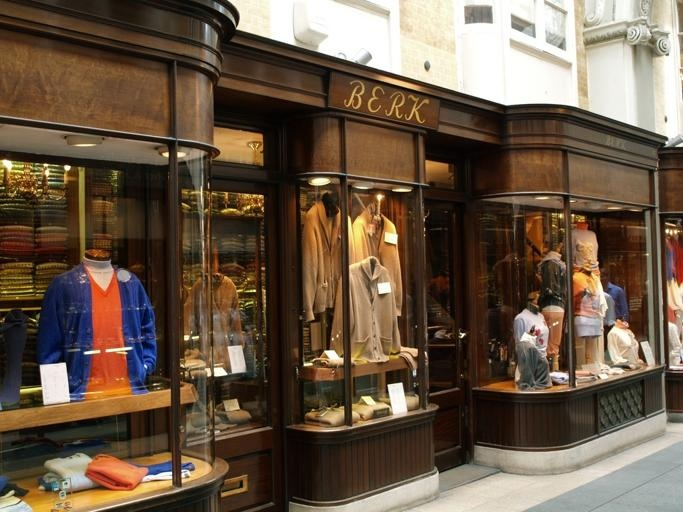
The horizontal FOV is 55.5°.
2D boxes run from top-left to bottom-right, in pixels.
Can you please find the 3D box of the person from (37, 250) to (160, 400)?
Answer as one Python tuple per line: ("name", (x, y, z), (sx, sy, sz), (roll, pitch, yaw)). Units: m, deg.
("person", (-1.493, 0.457, 3.934), (0.759, 1.052, 0.373), (3, -13, -38))
